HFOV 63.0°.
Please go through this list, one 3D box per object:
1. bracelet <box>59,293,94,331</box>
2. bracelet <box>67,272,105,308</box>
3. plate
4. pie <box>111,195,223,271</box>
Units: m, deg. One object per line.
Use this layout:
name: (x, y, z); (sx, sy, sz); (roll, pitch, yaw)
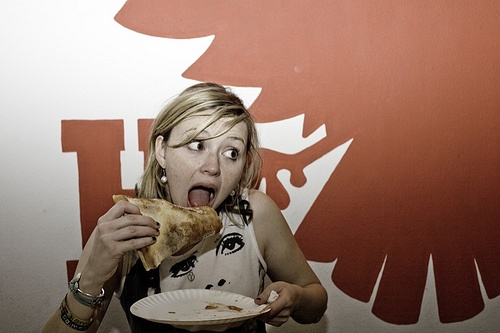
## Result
bracelet: (-0.766, 0.663, 1.820); (0.123, 0.165, 0.066); (9, 20, 26)
bracelet: (-0.710, 0.559, 1.763); (0.131, 0.089, 0.153); (22, 35, -32)
plate: (-0.214, 0.647, 1.784); (0.585, 0.109, 0.328); (3, 3, 15)
pie: (-0.343, 0.268, 1.878); (0.501, 0.165, 0.454); (4, 31, -29)
